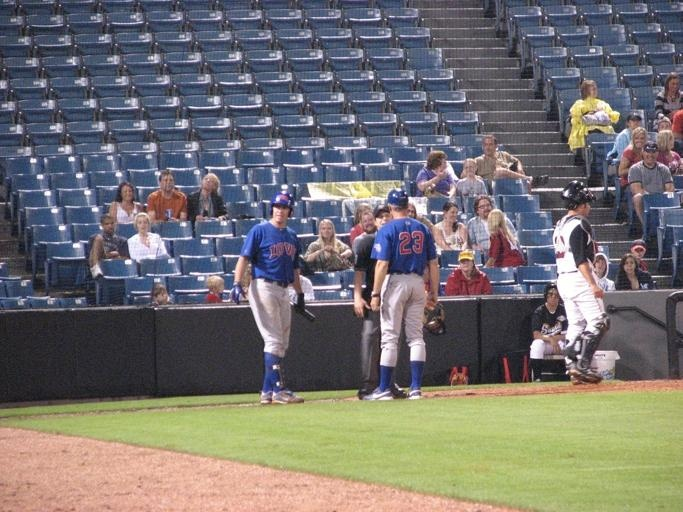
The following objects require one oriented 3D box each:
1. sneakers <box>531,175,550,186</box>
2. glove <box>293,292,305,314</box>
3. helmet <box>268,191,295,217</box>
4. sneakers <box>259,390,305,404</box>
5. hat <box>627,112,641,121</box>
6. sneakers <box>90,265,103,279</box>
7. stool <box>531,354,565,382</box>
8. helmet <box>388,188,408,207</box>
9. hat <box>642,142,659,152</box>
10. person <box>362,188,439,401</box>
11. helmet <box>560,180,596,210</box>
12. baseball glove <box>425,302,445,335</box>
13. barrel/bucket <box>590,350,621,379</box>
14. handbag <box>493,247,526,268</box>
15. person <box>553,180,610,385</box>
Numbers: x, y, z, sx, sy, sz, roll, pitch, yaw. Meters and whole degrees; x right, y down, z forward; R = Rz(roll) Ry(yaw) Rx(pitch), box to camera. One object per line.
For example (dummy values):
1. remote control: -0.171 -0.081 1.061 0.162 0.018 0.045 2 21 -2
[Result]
1. sneakers: 3.261 -1.224 26.845 0.138 0.123 0.341 4 2 27
2. glove: -0.564 0.630 23.752 0.090 0.251 0.194 3 -8 9
3. helmet: -0.799 -0.783 23.393 0.249 0.292 0.325 10 21 2
4. sneakers: -0.789 1.919 23.207 0.611 0.223 0.217 0 -4 4
5. hat: 4.829 -2.278 27.263 0.146 0.165 0.196 1 5 2
6. sneakers: -3.530 0.221 24.379 0.164 0.184 0.187 -9 -15 40
7. stool: 3.121 1.623 25.173 0.598 0.555 0.361 0 1 -5
8. helmet: 0.825 -0.828 23.237 0.298 0.230 0.479 8 7 -1
9. hat: 4.821 -1.696 25.890 0.219 0.158 0.133 -3 -2 4
10. person: 0.894 0.502 23.186 1.024 2.884 0.605 -2 -2 -13
11. helmet: 3.418 -0.945 23.941 0.447 0.434 0.351 -16 23 -11
12. baseball glove: 1.379 0.901 23.938 0.309 0.406 0.402 -2 3 -2
13. barrel/bucket: 3.970 1.554 24.728 0.420 0.367 0.415 -1 2 0
14. handbag: 2.597 0.000 25.425 0.512 0.295 0.396 -2 2 -1
15. person: 3.422 0.347 23.680 0.705 2.846 0.439 -3 -2 13
